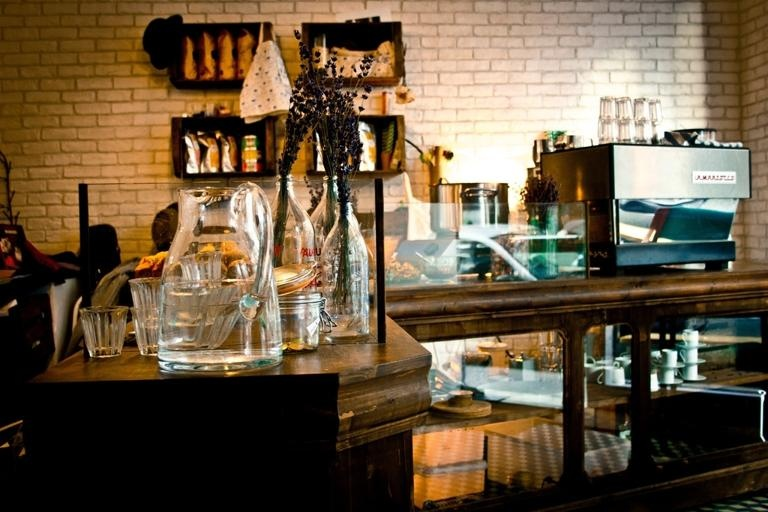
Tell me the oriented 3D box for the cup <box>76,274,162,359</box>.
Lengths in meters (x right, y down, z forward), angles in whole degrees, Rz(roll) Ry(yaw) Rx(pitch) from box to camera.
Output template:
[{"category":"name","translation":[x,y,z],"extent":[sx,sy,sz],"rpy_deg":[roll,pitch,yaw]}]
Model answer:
[{"category":"cup","translation":[-0.964,0.238,2.755],"extent":[0.243,0.333,0.269],"rpy_deg":[3,6,-44]}]

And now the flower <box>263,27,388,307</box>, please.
[{"category":"flower","translation":[-0.303,-0.545,3.114],"extent":[0.670,1.602,0.209],"rpy_deg":[-1,4,-12]}]

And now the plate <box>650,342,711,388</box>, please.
[{"category":"plate","translation":[1.797,0.667,4.433],"extent":[0.246,0.283,0.258],"rpy_deg":[-3,7,-32]}]

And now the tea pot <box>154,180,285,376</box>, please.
[{"category":"tea pot","translation":[-0.461,0.074,2.682],"extent":[0.535,0.630,0.476],"rpy_deg":[-1,-1,28]}]

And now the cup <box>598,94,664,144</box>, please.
[{"category":"cup","translation":[1.510,-0.814,4.489],"extent":[0.502,0.342,0.278],"rpy_deg":[0,6,2]}]

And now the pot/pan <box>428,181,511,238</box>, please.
[{"category":"pot/pan","translation":[0.522,-0.315,4.516],"extent":[0.439,0.297,1.449],"rpy_deg":[-3,5,5]}]
